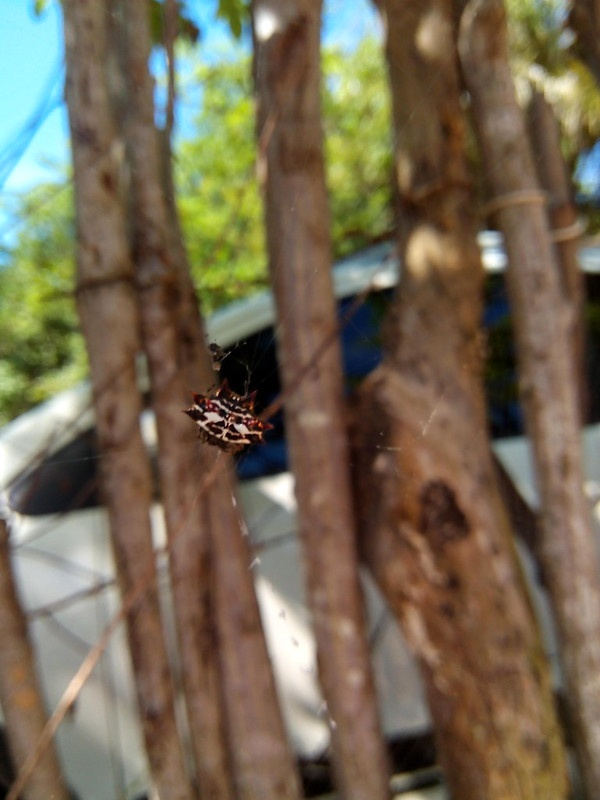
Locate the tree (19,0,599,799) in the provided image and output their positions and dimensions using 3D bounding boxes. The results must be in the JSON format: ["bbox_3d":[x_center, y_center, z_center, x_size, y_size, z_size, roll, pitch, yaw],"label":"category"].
[{"bbox_3d":[0.025,-0.037,1.144,0.986,1.499,0.341,-6,6,-4],"label":"tree"}]
